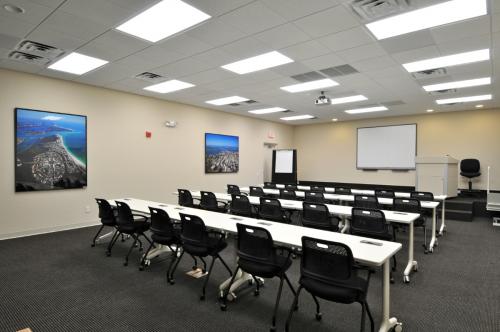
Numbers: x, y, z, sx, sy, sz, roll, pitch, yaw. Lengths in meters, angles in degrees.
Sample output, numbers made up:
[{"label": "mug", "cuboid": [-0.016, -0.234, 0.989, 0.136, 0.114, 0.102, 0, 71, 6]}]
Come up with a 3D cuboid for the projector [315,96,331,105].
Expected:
[{"label": "projector", "cuboid": [2.151, -1.893, 8.582, 0.259, 0.123, 0.375, 2, 5, 31]}]

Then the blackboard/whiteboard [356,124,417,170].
[{"label": "blackboard/whiteboard", "cuboid": [5.564, -0.729, 12.058, 2.338, 1.836, 0.063, -2, 4, 9]}]

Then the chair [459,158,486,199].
[{"label": "chair", "cuboid": [7.746, 0.378, 10.238, 0.830, 1.247, 0.936, 9, 14, 38]}]
